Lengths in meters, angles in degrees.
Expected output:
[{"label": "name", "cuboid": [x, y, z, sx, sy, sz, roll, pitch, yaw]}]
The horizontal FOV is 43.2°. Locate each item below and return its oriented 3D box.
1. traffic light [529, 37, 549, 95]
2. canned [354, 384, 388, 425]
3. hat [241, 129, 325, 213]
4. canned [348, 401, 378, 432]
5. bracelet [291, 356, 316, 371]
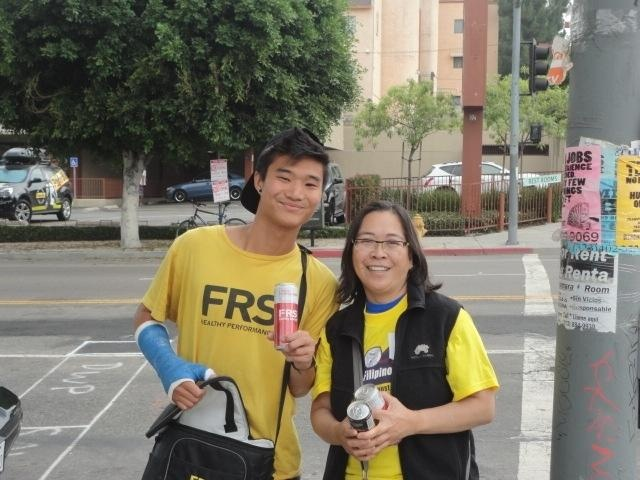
[{"label": "traffic light", "cuboid": [4.706, -3.754, 17.335, 0.422, 1.110, 1.393, 2, 7, 14]}, {"label": "canned", "cuboid": [0.305, 0.980, 4.780, 0.167, 0.174, 0.173, -9, 24, 40]}, {"label": "hat", "cuboid": [-0.241, -0.389, 5.347, 0.423, 0.641, 0.272, 28, -1, 18]}, {"label": "canned", "cuboid": [0.251, 1.033, 4.686, 0.096, 0.159, 0.096, -22, 31, -1]}, {"label": "bracelet", "cuboid": [-0.114, 0.780, 4.992, 0.109, 0.042, 0.098, -6, 1, 18]}]
